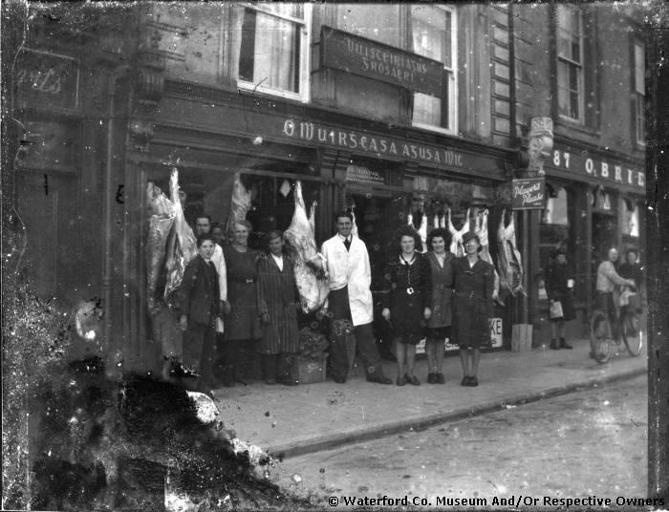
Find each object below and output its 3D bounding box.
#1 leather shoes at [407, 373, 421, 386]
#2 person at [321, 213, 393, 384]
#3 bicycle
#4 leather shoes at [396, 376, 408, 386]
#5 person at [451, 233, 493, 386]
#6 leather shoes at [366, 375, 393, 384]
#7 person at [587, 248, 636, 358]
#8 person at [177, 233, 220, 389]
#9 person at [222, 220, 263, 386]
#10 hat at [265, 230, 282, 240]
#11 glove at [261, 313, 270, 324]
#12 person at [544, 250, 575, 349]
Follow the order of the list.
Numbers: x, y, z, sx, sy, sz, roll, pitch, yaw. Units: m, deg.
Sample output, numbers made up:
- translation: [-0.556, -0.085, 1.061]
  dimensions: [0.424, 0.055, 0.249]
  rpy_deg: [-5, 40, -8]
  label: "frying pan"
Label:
- translation: [0.734, 1.148, 8.174]
  dimensions: [0.067, 0.058, 0.132]
  rpy_deg: [0, 1, -33]
  label: "leather shoes"
- translation: [0.179, 0.392, 8.197]
  dimensions: [0.588, 1.587, 0.270]
  rpy_deg: [-1, -8, -6]
  label: "person"
- translation: [2.532, 0.669, 7.891]
  dimensions: [0.329, 0.474, 0.748]
  rpy_deg: [-9, 5, 45]
  label: "bicycle"
- translation: [0.627, 1.147, 8.143]
  dimensions: [0.065, 0.096, 0.137]
  rpy_deg: [-9, -11, 43]
  label: "leather shoes"
- translation: [1.305, 0.498, 8.258]
  dimensions: [0.345, 1.424, 0.269]
  rpy_deg: [1, -8, -19]
  label: "person"
- translation: [0.407, 1.120, 8.094]
  dimensions: [0.198, 0.090, 0.099]
  rpy_deg: [-2, -4, 6]
  label: "leather shoes"
- translation: [2.496, 0.379, 7.867]
  dimensions: [0.366, 0.774, 0.946]
  rpy_deg: [-2, -2, 20]
  label: "person"
- translation: [-1.179, 0.477, 7.603]
  dimensions: [0.332, 1.337, 0.205]
  rpy_deg: [1, -8, -17]
  label: "person"
- translation: [-0.821, 0.395, 7.803]
  dimensions: [0.378, 1.460, 0.284]
  rpy_deg: [1, -8, -18]
  label: "person"
- translation: [-0.559, -0.199, 8.073]
  dimensions: [0.097, 0.084, 0.104]
  rpy_deg: [25, 3, 11]
  label: "hat"
- translation: [-0.626, 0.565, 7.976]
  dimensions: [0.086, 0.084, 0.021]
  rpy_deg: [-2, 17, -24]
  label: "glove"
- translation: [2.120, 0.392, 8.244]
  dimensions: [0.255, 0.934, 0.376]
  rpy_deg: [-3, -8, 13]
  label: "person"
